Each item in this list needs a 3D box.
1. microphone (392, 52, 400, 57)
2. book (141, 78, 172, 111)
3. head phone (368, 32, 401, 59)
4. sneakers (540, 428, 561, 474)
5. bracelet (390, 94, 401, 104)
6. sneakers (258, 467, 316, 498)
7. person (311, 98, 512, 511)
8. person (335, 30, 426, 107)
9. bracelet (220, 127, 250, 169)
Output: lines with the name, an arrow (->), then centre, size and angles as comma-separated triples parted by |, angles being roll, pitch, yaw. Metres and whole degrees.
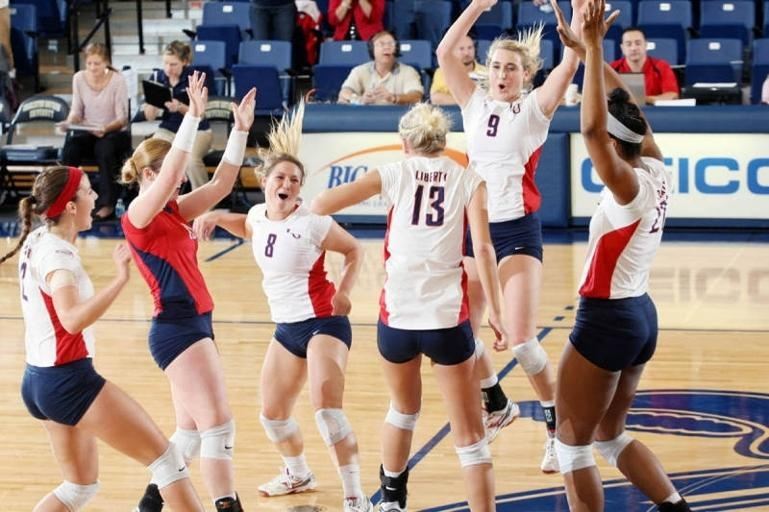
microphone -> 0.144, -2.341, 11.664 | 0.063, 0.049, 0.089 | 7, 4, 2
book -> -2.716, -1.933, 11.898 | 0.377, 0.365, 0.304 | 8, 26, 11
head phone -> 0.003, -2.498, 11.698 | 0.327, 0.331, 0.290 | 0, 41, 2
sneakers -> 1.085, 1.257, 6.465 | 0.105, 0.218, 0.327 | -1, 14, 18
bracelet -> 0.127, -1.812, 11.613 | 0.078, 0.099, 0.104 | 5, 19, 6
sneakers -> -0.605, 1.418, 6.343 | 0.386, 0.193, 0.141 | -1, 3, -7
person -> 0.226, 0.319, 5.777 | 0.980, 2.357, 0.508 | 3, 8, 16
person -> -0.029, -2.158, 11.783 | 1.020, 0.839, 0.651 | 1, 12, 5
bracelet -> -0.944, -0.673, 6.401 | 0.207, 0.194, 0.315 | 8, 45, -13
